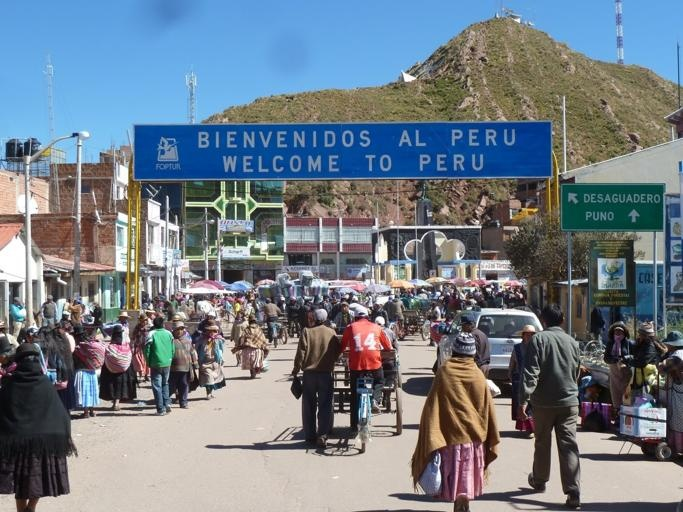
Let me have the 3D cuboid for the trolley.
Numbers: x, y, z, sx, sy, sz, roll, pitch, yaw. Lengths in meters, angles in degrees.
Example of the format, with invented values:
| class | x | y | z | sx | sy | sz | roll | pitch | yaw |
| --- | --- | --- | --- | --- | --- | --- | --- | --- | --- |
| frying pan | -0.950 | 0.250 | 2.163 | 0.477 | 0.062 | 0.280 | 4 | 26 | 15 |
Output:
| class | x | y | z | sx | sy | sz | roll | pitch | yaw |
| --- | --- | --- | --- | --- | --- | --- | --- | --- | --- |
| trolley | 5.326 | 2.765 | 20.109 | 0.568 | 1.508 | 0.929 | 1 | 0 | -20 |

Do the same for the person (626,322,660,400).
| class | x | y | z | sx | sy | sz | roll | pitch | yaw |
| --- | --- | --- | --- | --- | --- | --- | --- | --- | --- |
| person | 5.493 | 1.923 | 20.671 | 0.506 | 1.317 | 0.623 | -3 | 1 | 21 |

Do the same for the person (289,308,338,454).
| class | x | y | z | sx | sy | sz | roll | pitch | yaw |
| --- | --- | --- | --- | --- | --- | --- | --- | --- | --- |
| person | -0.535 | 2.282 | 21.113 | 0.829 | 2.306 | 1.054 | 0 | 0 | -5 |

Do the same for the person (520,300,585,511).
| class | x | y | z | sx | sy | sz | roll | pitch | yaw |
| --- | --- | --- | --- | --- | --- | --- | --- | --- | --- |
| person | 3.251 | 2.362 | 18.441 | 1.017 | 2.843 | 1.320 | 0 | -1 | 7 |

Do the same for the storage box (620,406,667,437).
| class | x | y | z | sx | sy | sz | roll | pitch | yaw |
| --- | --- | --- | --- | --- | --- | --- | --- | --- | --- |
| storage box | 5.301 | 2.934 | 20.085 | 0.771 | 0.479 | 0.782 | 3 | -4 | 10 |

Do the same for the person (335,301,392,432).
| class | x | y | z | sx | sy | sz | roll | pitch | yaw |
| --- | --- | --- | --- | --- | --- | --- | --- | --- | --- |
| person | 0.416 | 1.948 | 21.343 | 0.710 | 2.114 | 1.059 | 0 | -1 | 0 |

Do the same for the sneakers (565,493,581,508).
| class | x | y | z | sx | sy | sz | roll | pitch | yaw |
| --- | --- | --- | --- | --- | --- | --- | --- | --- | --- |
| sneakers | 3.636 | 3.860 | 17.873 | 0.237 | 0.204 | 0.149 | -1 | 0 | 11 |

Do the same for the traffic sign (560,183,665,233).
| class | x | y | z | sx | sy | sz | roll | pitch | yaw |
| --- | --- | --- | --- | --- | --- | --- | --- | --- | --- |
| traffic sign | 6.462 | -1.168 | 27.223 | 2.431 | 0.973 | 0.377 | -1 | 0 | 13 |

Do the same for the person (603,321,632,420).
| class | x | y | z | sx | sy | sz | roll | pitch | yaw |
| --- | --- | --- | --- | --- | --- | --- | --- | --- | --- |
| person | 5.152 | 2.198 | 21.222 | 0.514 | 1.671 | 0.495 | 0 | -1 | 10 |

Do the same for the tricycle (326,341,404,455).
| class | x | y | z | sx | sy | sz | roll | pitch | yaw |
| --- | --- | --- | --- | --- | --- | --- | --- | --- | --- |
| tricycle | 0.525 | 2.743 | 21.900 | 1.174 | 1.952 | 1.380 | 3 | -1 | -10 |
